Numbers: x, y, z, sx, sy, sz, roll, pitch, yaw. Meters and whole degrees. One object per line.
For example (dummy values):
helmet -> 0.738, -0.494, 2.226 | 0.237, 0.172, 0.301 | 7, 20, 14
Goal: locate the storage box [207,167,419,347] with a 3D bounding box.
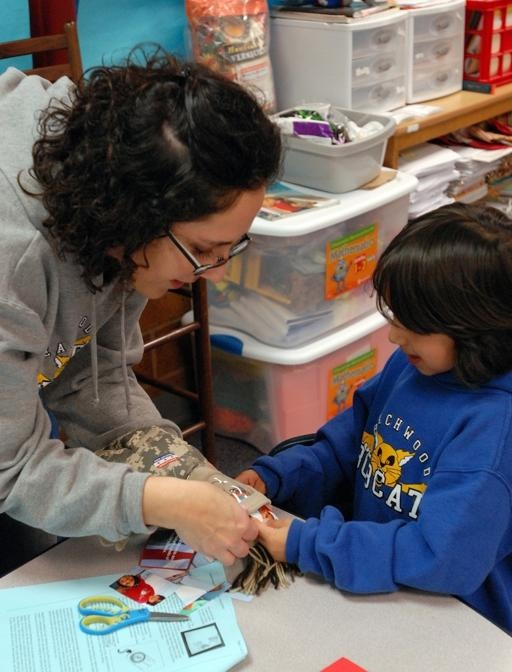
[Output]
storage box -> 0.176, -0.284, 1.663 | 0.596, 0.347, 0.413 | -27, 37, -36

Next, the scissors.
scissors -> -0.148, 0.298, 0.617 | 0.075, 0.011, 0.040 | 2, 6, -6

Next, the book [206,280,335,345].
book -> 0.018, -0.050, 1.591 | 0.294, 0.082, 0.173 | 17, 32, 32

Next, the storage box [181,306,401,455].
storage box -> 0.101, 0.143, 1.776 | 0.520, 0.337, 0.462 | 18, 31, 40
